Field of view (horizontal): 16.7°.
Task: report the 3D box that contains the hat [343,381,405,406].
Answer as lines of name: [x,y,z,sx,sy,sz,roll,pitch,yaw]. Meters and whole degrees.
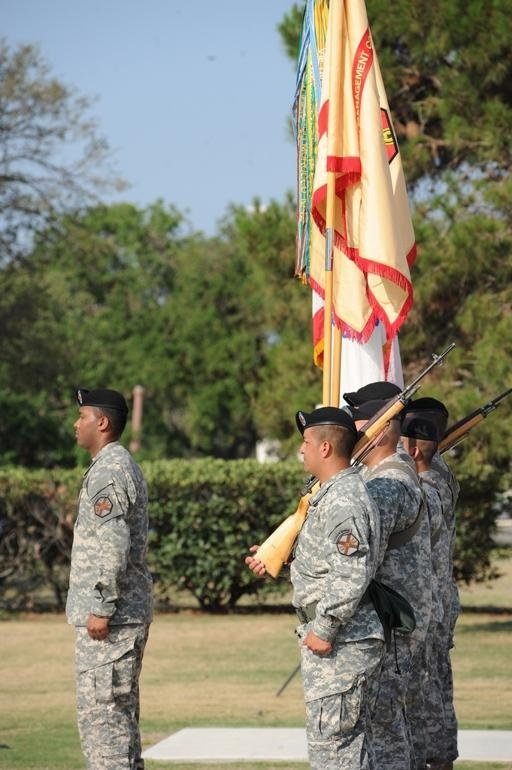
hat: [0.669,0.050,10.055,0.229,0.081,0.157,-8,-4,25]

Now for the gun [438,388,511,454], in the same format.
gun: [2.074,0.304,16.218,0.086,0.258,1.270,32,-38,-18]

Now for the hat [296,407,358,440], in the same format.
hat: [0.375,0.208,9.320,0.234,0.130,0.176,0,-7,2]

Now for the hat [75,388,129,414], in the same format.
hat: [-0.909,0.078,10.226,0.200,0.077,0.167,11,-4,23]
